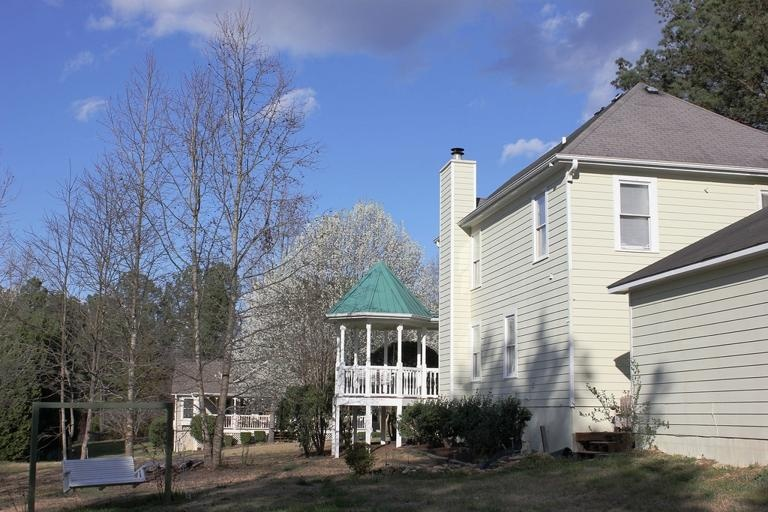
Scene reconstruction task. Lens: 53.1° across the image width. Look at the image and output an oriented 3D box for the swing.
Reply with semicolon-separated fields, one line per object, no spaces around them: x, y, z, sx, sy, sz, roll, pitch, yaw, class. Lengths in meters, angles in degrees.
-8.595;6.728;23.568;2.367;1.073;1.070;9;-14;-38;swing
